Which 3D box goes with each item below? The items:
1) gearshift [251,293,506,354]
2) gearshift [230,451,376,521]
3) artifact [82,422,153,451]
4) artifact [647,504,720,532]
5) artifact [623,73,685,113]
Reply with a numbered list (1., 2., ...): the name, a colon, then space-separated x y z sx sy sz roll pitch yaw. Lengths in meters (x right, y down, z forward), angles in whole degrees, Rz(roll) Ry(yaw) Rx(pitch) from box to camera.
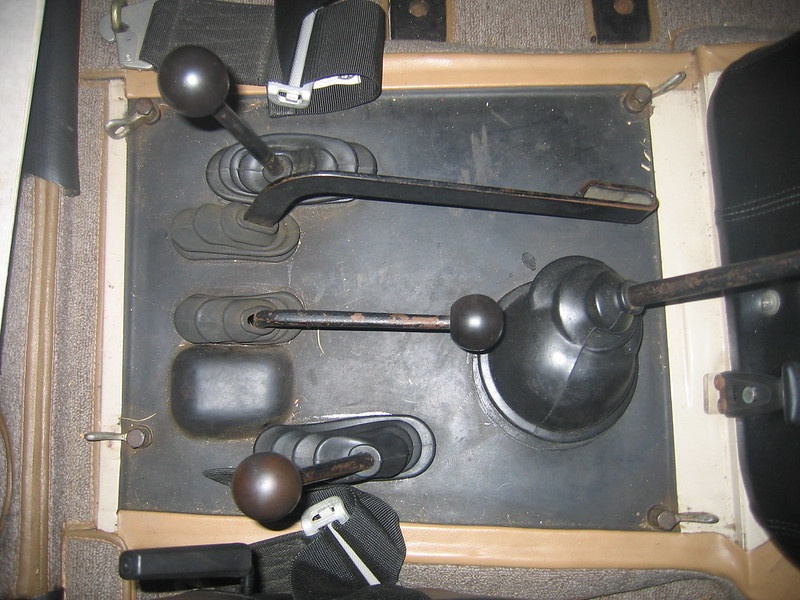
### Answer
1. gearshift: -0.044 0.059 1.717 0.433 0.119 0.121 1 94 -18
2. gearshift: -0.185 0.338 1.524 0.115 0.289 0.125 3 93 36
3. artifact: -0.641 0.320 1.777 0.158 0.028 0.064 1 91 13
4. artifact: 0.627 0.494 1.765 0.162 0.089 0.065 -3 67 0
5. artifact: 0.604 -0.507 1.844 0.151 0.061 0.064 3 52 38
